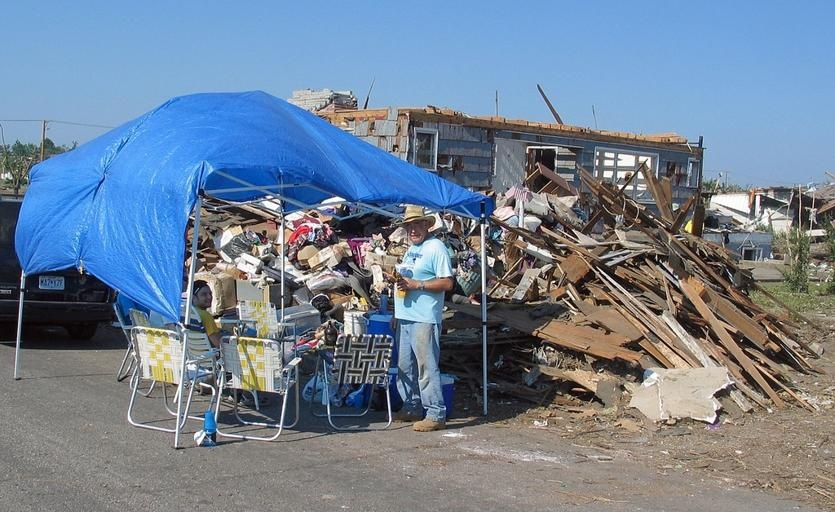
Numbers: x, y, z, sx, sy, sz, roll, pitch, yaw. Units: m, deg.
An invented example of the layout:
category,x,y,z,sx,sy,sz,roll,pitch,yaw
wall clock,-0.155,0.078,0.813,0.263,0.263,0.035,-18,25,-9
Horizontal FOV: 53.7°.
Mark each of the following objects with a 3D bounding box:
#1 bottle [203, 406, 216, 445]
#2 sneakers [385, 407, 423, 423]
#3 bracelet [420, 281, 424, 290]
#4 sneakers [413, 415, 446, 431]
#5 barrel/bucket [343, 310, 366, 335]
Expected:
category,x,y,z,sx,sy,sz,roll,pitch,yaw
bottle,-2.618,2.172,10.473,0.224,0.428,0.192,2,2,-37
sneakers,-0.184,2.237,11.592,0.470,0.180,0.183,2,0,8
bracelet,0.073,0.399,11.213,0.064,0.077,0.091,-1,-7,5
sneakers,0.158,2.309,11.353,0.427,0.172,0.184,3,1,-10
barrel/bucket,-0.985,1.030,12.681,0.358,0.464,0.336,1,-3,0
